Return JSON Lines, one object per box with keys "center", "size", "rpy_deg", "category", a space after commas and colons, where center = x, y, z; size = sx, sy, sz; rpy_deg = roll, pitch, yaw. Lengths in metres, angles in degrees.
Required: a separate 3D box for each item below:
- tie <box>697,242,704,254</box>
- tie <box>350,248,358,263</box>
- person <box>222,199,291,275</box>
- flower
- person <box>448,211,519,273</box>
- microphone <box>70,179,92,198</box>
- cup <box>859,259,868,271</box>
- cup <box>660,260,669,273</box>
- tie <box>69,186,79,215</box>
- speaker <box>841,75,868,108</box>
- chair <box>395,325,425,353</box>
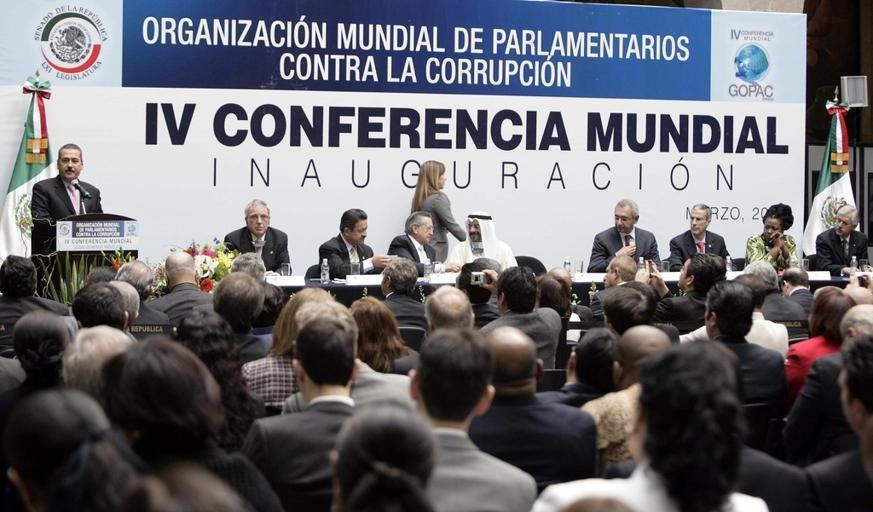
{"center": [3.246, -0.101, 9.443], "size": [0.094, 0.130, 0.040], "rpy_deg": [-1, 1, -5], "category": "tie"}
{"center": [-0.910, 0.001, 8.745], "size": [0.108, 0.153, 0.039], "rpy_deg": [-2, -33, -31], "category": "tie"}
{"center": [-2.019, 0.011, 8.854], "size": [0.713, 1.266, 0.660], "rpy_deg": [-1, 2, -19], "category": "person"}
{"center": [-2.326, 0.104, 7.471], "size": [0.826, 0.404, 0.821], "rpy_deg": [-12, -3, 42], "category": "flower"}
{"center": [0.538, -0.089, 8.956], "size": [0.779, 0.763, 0.407], "rpy_deg": [-9, -19, 15], "category": "person"}
{"center": [-4.179, -0.792, 9.149], "size": [0.113, 0.119, 0.393], "rpy_deg": [-15, 37, -24], "category": "microphone"}
{"center": [5.266, 0.115, 9.486], "size": [0.111, 0.184, 0.118], "rpy_deg": [-1, 2, 0], "category": "cup"}
{"center": [2.806, 0.133, 9.424], "size": [0.103, 0.167, 0.106], "rpy_deg": [-1, 10, 0], "category": "cup"}
{"center": [-4.224, -0.630, 9.014], "size": [0.065, 0.417, 0.051], "rpy_deg": [-5, -24, -26], "category": "tie"}
{"center": [6.337, -2.475, 11.663], "size": [0.438, 0.444, 0.268], "rpy_deg": [1, 1, -1], "category": "speaker"}
{"center": [-0.171, 0.597, 5.813], "size": [0.186, 0.257, 0.213], "rpy_deg": [3, 10, 11], "category": "chair"}
